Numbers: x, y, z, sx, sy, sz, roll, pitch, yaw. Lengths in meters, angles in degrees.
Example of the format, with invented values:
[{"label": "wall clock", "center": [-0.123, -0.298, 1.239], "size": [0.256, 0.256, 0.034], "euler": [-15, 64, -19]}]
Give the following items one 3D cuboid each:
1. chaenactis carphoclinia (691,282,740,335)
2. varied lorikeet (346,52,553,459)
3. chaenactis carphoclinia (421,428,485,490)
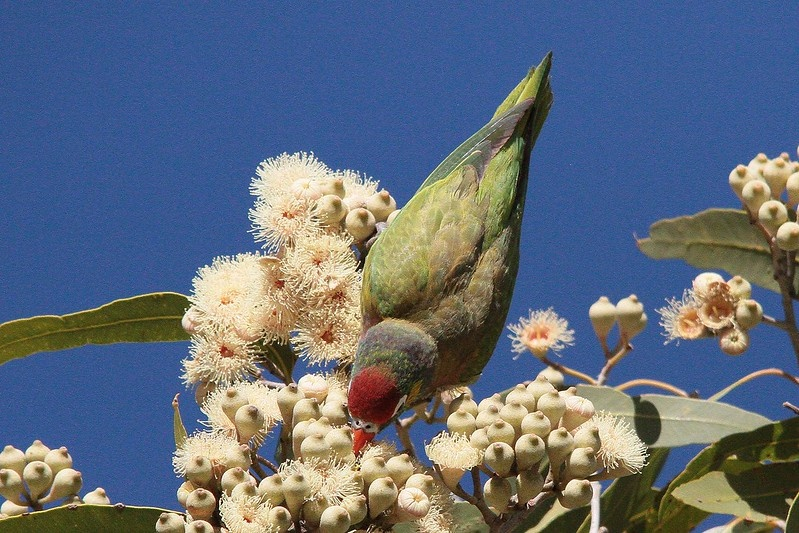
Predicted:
[{"label": "chaenactis carphoclinia", "center": [1.228, 0.157, 6.492], "size": [0.155, 0.191, 0.049], "euler": [0, -1, 17]}, {"label": "varied lorikeet", "center": [0.170, 0.016, 6.695], "size": [0.679, 1.740, 1.032], "euler": [1, -1, 1]}, {"label": "chaenactis carphoclinia", "center": [0.192, 0.736, 6.075], "size": [0.223, 0.186, 0.230], "euler": [19, 17, 31]}]
